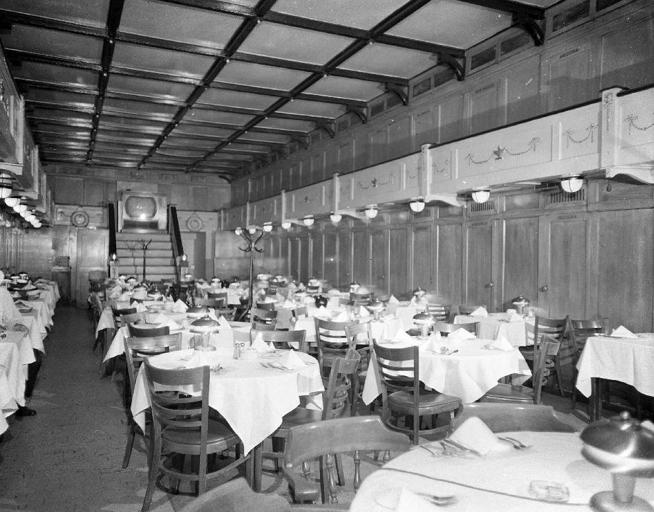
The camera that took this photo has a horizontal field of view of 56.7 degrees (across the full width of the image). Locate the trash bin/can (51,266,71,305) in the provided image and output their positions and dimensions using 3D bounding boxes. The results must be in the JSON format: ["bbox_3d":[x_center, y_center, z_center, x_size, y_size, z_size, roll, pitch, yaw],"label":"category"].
[{"bbox_3d":[-8.912,0.930,20.290,0.543,0.905,0.563,11,-6,1],"label":"trash bin/can"}]

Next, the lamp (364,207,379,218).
[{"bbox_3d":[0.914,-0.910,12.906,0.188,0.183,0.266,2,3,12],"label":"lamp"}]

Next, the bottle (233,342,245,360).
[{"bbox_3d":[-0.872,0.944,5.985,0.130,0.251,0.138,3,2,0],"label":"bottle"}]

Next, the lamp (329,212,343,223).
[{"bbox_3d":[0.213,-0.898,14.250,0.201,0.160,0.204,0,0,-30],"label":"lamp"}]

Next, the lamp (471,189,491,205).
[{"bbox_3d":[2.500,-0.969,9.838,0.275,0.225,0.290,-1,-1,-3],"label":"lamp"}]

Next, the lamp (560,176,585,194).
[{"bbox_3d":[3.412,-0.995,8.446,0.312,0.252,0.312,-4,4,-38],"label":"lamp"}]
